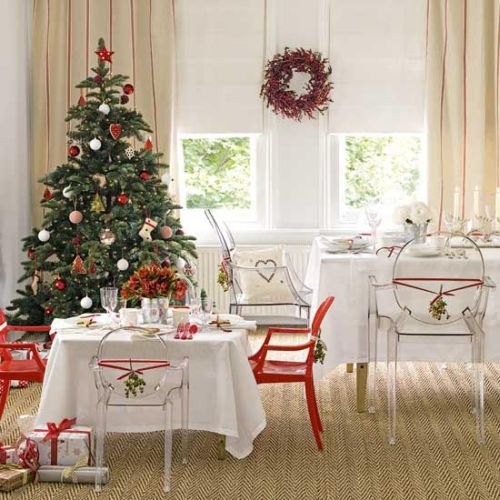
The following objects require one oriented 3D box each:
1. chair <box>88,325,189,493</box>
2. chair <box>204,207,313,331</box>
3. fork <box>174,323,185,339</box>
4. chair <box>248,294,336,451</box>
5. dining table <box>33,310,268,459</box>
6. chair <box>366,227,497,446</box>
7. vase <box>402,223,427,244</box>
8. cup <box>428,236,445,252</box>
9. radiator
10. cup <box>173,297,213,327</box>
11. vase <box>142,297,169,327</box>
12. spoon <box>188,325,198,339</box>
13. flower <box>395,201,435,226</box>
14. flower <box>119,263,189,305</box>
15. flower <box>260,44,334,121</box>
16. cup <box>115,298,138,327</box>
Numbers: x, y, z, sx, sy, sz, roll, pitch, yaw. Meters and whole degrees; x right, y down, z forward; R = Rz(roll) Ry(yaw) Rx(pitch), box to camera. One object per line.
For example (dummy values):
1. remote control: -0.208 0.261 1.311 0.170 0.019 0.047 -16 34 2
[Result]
1. chair: -0.447 0.629 2.334 0.435 0.747 0.529 -2 7 -15
2. chair: 0.132 0.136 4.767 1.112 1.333 0.927 -2 8 1
3. fork: -0.312 0.367 2.485 0.023 0.012 0.098 7 27 5
4. chair: 0.227 0.603 3.040 0.721 0.873 0.571 1 2 2
5. dining table: -0.427 0.586 2.423 0.684 0.314 0.666 0 1 5
6. chair: 0.931 0.424 2.845 0.625 1.025 0.574 1 7 12
7. vase: 0.921 -0.098 3.029 0.142 0.097 0.124 -2 5 -20
8. cup: 0.985 -0.035 2.896 0.083 0.085 0.080 0 9 0
9. radiator: 0.073 0.217 4.450 0.786 0.833 0.651 -1 6 -9
10. cup: -0.260 0.305 2.684 0.203 0.162 0.106 2 -1 -1
11. vase: -0.443 0.285 2.581 0.123 0.099 0.131 0 -3 -3
12. spoon: -0.257 0.374 2.493 0.026 0.054 0.023 13 -4 -28
13. flower: 0.901 -0.205 3.020 0.203 0.128 0.121 2 7 23
14. flower: -0.454 0.157 2.589 0.299 0.194 0.197 -2 7 -13
15. flower: 0.432 -1.521 4.973 0.652 0.648 0.198 -2 -1 -2
16. cup: -0.569 0.307 2.637 0.148 0.131 0.089 7 -10 -35
